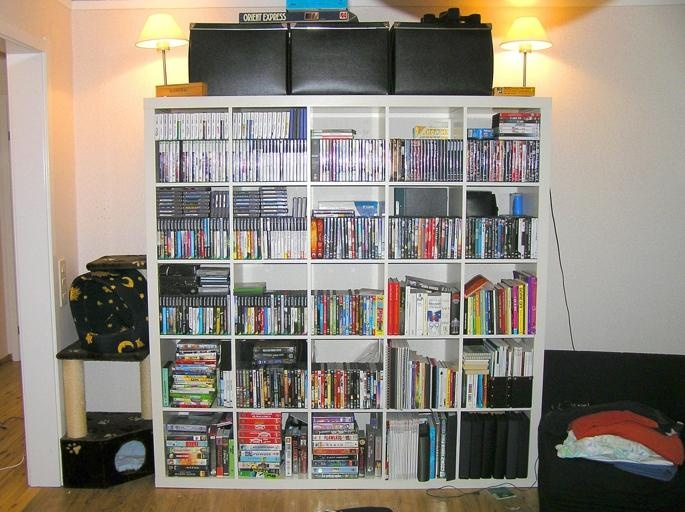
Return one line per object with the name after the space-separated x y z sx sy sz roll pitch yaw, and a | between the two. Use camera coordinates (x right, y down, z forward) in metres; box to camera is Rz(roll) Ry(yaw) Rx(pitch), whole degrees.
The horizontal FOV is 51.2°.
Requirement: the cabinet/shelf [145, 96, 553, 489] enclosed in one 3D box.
0.023 0.281 4.827 2.846 2.448 0.838 -1 7 3 | cabinet/shelf

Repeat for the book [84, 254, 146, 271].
-1.561 0.047 5.017 0.417 0.110 0.452 -1 0 -8 | book

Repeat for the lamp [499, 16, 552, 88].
1.254 -1.421 4.910 0.323 0.505 0.472 -1 0 12 | lamp

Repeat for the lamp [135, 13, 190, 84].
-1.232 -1.438 4.881 0.332 0.495 0.462 -1 0 -14 | lamp
